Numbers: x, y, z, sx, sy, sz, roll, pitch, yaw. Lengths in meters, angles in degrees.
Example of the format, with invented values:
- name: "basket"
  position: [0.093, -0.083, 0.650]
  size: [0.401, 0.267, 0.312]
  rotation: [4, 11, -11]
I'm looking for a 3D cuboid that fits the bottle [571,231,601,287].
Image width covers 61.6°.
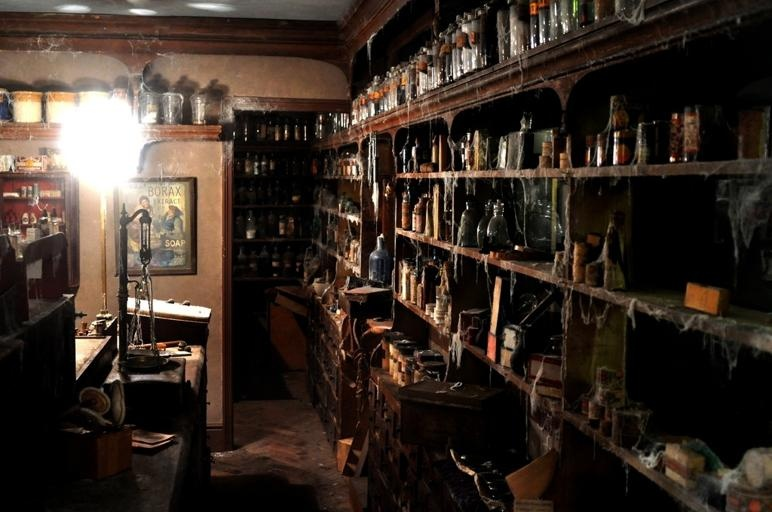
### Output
- name: "bottle"
  position: [0.816, 0.011, 2.688]
  size: [0.100, 0.200, 0.131]
  rotation: [-14, 13, -36]

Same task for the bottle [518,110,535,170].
- name: "bottle"
  position: [0.722, -0.589, 3.322]
  size: [0.062, 0.270, 0.080]
  rotation: [0, 7, -9]

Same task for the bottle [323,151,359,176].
- name: "bottle"
  position: [-0.465, -0.943, 6.767]
  size: [0.246, 0.313, 0.837]
  rotation: [0, 6, -16]

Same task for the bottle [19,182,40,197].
- name: "bottle"
  position: [-3.252, -0.599, 5.930]
  size: [0.165, 0.132, 0.028]
  rotation: [-10, 11, -18]

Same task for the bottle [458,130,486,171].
- name: "bottle"
  position: [0.446, -0.598, 3.636]
  size: [0.204, 0.224, 0.198]
  rotation: [0, 7, -4]

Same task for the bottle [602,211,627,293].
- name: "bottle"
  position: [0.903, -0.019, 2.584]
  size: [0.086, 0.288, 0.161]
  rotation: [-2, 11, 19]

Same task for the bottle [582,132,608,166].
- name: "bottle"
  position: [0.849, -0.435, 2.649]
  size: [0.061, 0.132, 0.178]
  rotation: [-6, 11, 2]
